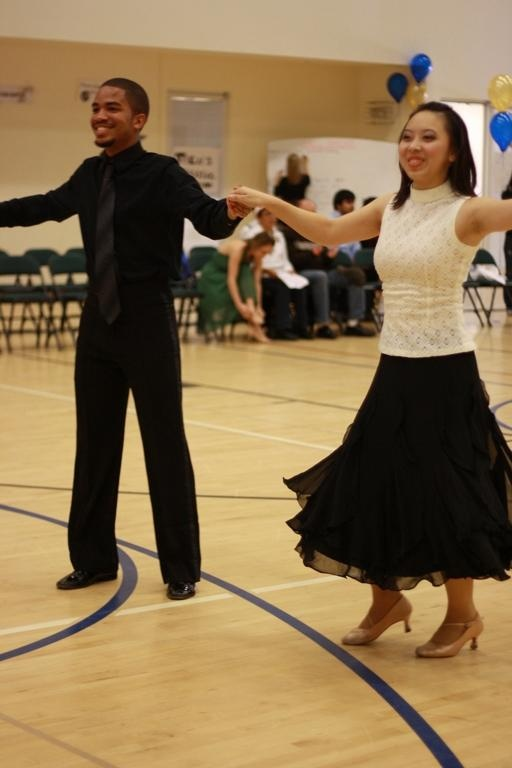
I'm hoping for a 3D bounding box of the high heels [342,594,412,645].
[{"bbox_3d":[0.316,0.617,1.821,0.206,0.102,0.066,-24,4,4],"label":"high heels"}]

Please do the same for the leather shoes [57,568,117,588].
[{"bbox_3d":[-0.529,0.601,2.199,0.165,0.059,0.057,2,-5,-27],"label":"leather shoes"}]

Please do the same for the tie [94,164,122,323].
[{"bbox_3d":[-0.437,-0.400,2.017,0.073,0.447,0.093,-3,12,-11],"label":"tie"}]

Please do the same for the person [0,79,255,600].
[{"bbox_3d":[-0.337,-0.113,2.074,0.553,1.530,0.344,1,12,4],"label":"person"}]

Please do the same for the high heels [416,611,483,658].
[{"bbox_3d":[0.474,0.615,1.741,0.179,0.084,0.082,-5,-3,-13],"label":"high heels"}]
